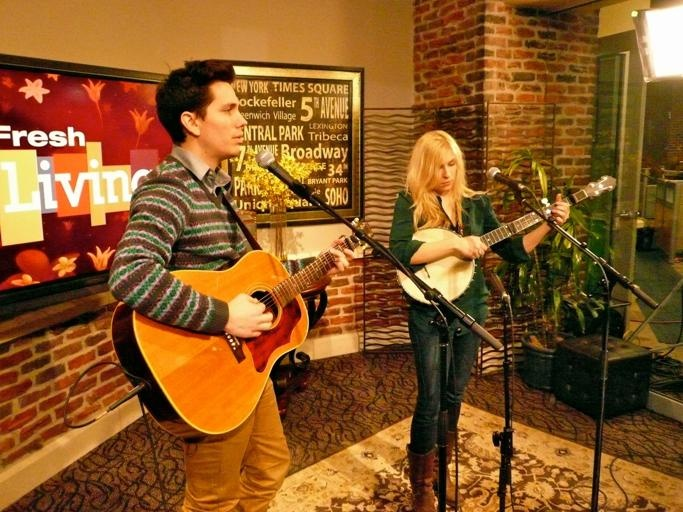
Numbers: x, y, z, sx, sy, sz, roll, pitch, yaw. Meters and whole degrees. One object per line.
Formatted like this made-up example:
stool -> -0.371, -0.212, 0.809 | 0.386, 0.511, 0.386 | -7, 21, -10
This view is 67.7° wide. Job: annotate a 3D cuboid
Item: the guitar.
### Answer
guitar -> -0.283, 0.243, 2.184 | 0.174, 0.608, 1.283 | -13, 20, 42
